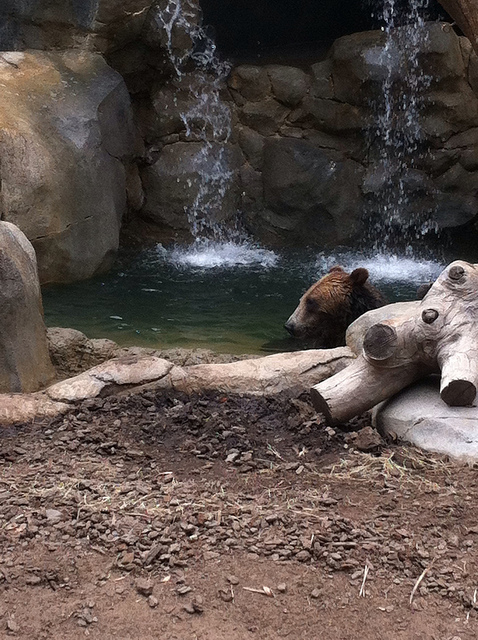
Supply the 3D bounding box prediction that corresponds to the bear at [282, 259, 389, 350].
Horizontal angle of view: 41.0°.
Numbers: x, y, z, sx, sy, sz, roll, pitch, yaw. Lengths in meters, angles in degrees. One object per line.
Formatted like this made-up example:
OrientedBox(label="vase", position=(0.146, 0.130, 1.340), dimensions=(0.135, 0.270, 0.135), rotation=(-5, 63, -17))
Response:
OrientedBox(label="bear", position=(0.826, -0.090, 5.437), dimensions=(0.807, 0.782, 0.346), rotation=(12, 17, 33))
